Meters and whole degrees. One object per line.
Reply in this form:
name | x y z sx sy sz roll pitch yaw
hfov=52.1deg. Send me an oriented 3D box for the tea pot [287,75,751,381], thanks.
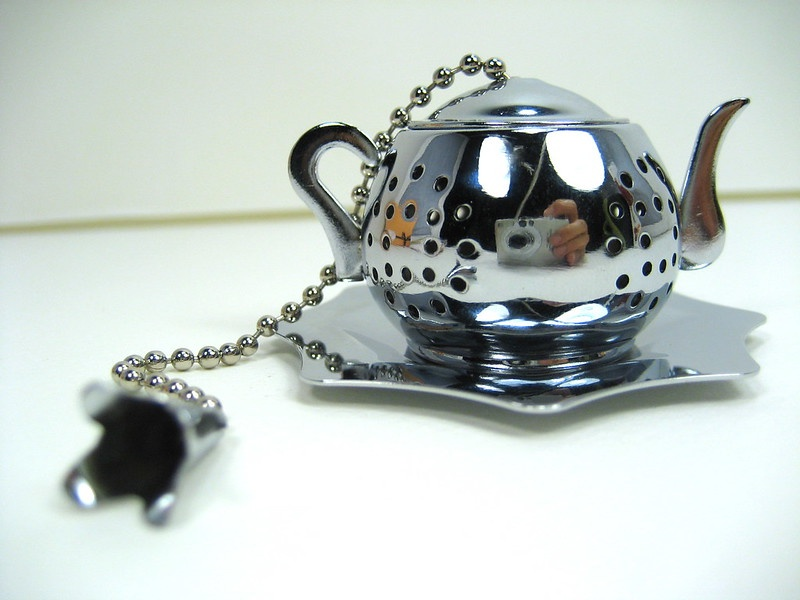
tea pot | 0.141 -0.097 0.949 0.497 0.329 0.356 -2 11 -4
